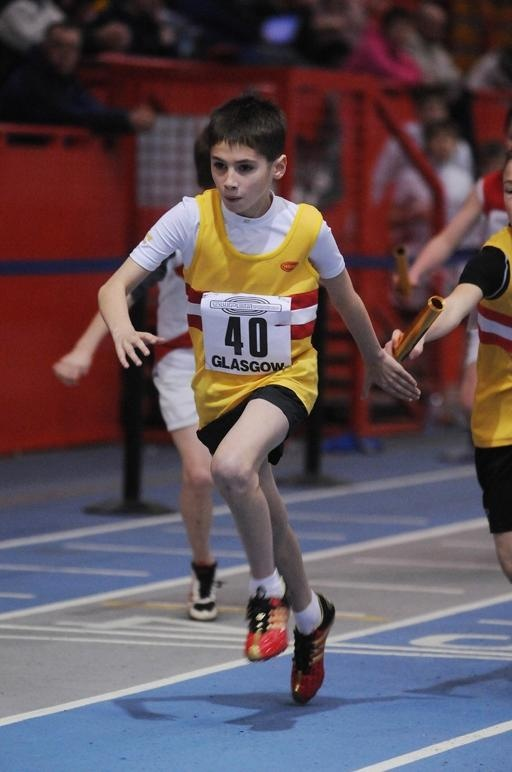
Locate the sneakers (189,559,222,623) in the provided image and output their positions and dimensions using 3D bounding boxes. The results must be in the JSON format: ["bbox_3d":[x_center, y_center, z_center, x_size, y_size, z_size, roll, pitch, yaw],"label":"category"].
[{"bbox_3d":[-0.207,0.837,3.356,0.099,0.103,0.223,-1,54,-2],"label":"sneakers"}]

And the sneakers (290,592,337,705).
[{"bbox_3d":[0.201,0.718,2.304,0.110,0.285,0.136,4,-12,33],"label":"sneakers"}]

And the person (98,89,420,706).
[{"bbox_3d":[-0.025,0.063,2.198,0.558,1.688,0.843,7,7,38],"label":"person"}]

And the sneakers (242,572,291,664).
[{"bbox_3d":[0.027,0.569,2.046,0.090,0.108,0.238,-10,38,25],"label":"sneakers"}]
